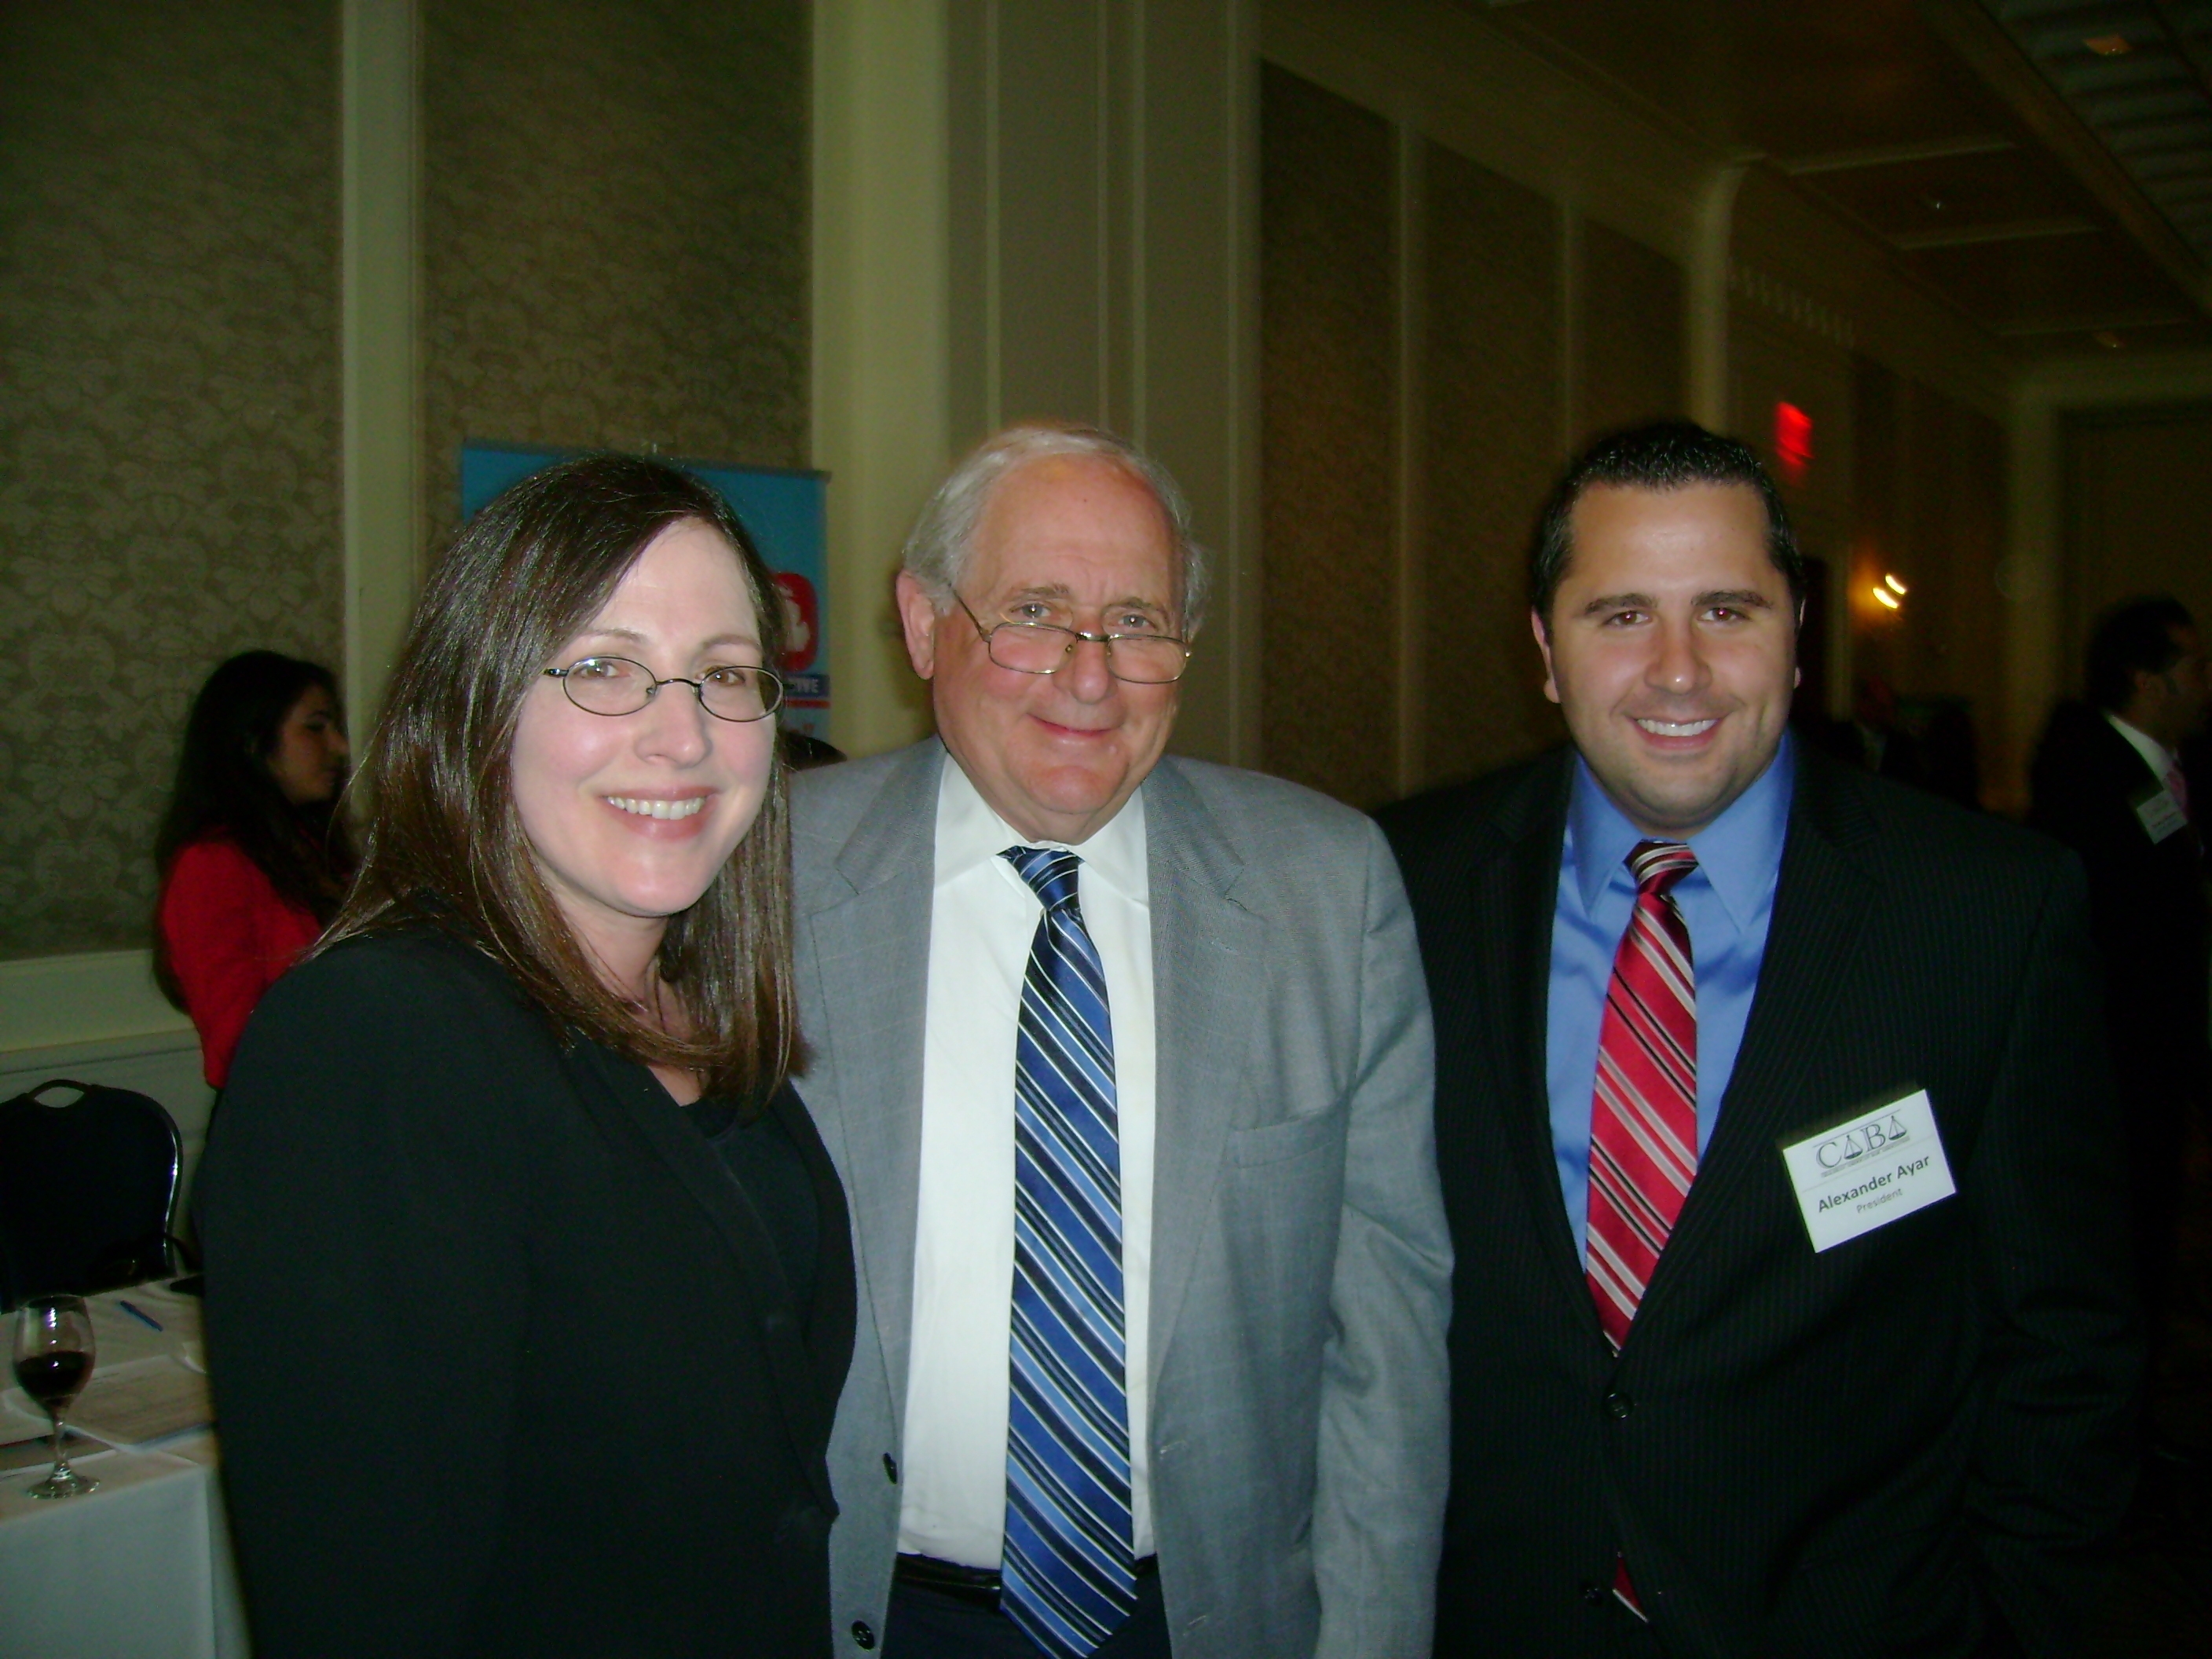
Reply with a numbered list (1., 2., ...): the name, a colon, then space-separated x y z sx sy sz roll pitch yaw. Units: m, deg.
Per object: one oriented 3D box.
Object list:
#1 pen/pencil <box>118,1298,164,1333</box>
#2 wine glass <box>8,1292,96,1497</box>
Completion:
1. pen/pencil: -1.934 0.974 3.984 0.024 0.011 0.140 -31 24 -29
2. wine glass: -1.819 0.975 3.438 0.114 0.268 0.363 -1 2 -29
